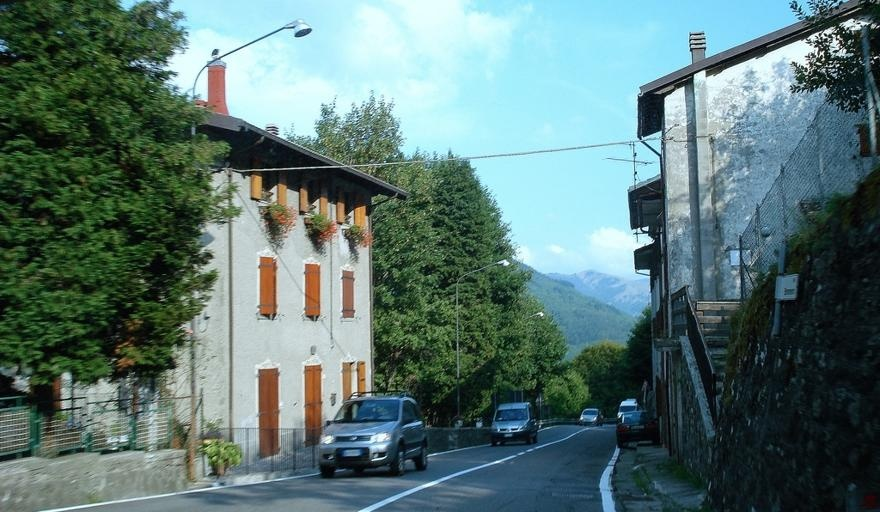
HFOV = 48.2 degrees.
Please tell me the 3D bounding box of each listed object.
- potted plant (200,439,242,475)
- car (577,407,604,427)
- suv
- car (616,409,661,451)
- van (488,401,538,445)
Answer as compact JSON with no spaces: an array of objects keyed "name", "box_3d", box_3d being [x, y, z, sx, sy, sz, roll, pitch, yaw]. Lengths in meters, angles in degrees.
[{"name":"potted plant","box_3d":[-6.316,5.728,28.019,0.735,1.063,1.398,-12,-15,36]},{"name":"car","box_3d":[12.777,13.549,82.664,1.536,1.448,2.442,-3,-13,1]},{"name":"suv","box_3d":[-1.792,4.947,27.370,1.826,2.288,3.138,-11,-15,34]},{"name":"car","box_3d":[8.169,7.084,40.654,1.812,1.526,2.010,-6,-13,14]},{"name":"van","box_3d":[3.271,7.532,44.416,1.762,1.830,2.101,-6,-13,11]}]
